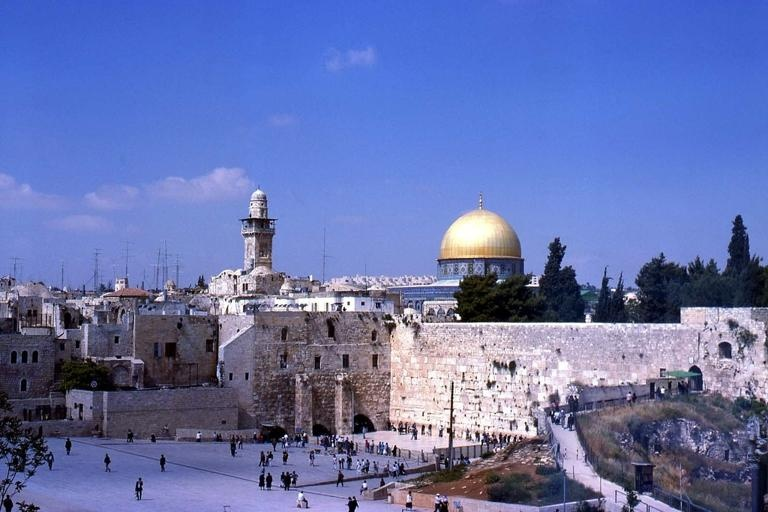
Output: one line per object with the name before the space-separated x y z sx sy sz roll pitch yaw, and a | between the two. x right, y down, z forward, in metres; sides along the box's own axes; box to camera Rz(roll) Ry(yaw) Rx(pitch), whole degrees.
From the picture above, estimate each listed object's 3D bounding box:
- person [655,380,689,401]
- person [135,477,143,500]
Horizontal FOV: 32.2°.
person | 14.614 6.809 67.660 1.609 0.895 1.047 -3 -1 -13
person | -11.407 10.726 61.985 0.362 0.931 1.563 -2 5 -11
